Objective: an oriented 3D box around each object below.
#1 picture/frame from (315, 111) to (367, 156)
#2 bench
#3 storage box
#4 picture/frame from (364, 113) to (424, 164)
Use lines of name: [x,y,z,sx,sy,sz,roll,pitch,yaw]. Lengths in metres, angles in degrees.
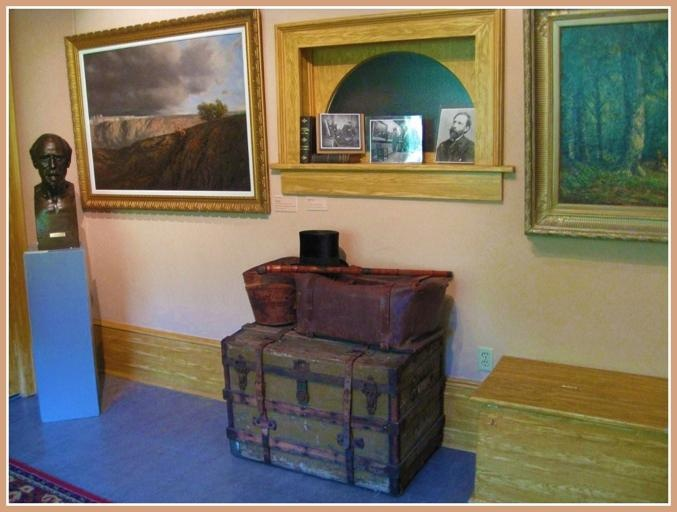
picture/frame: [0.019,-0.799,3.356,0.295,0.250,0.022,1,4,9]
bench: [1.186,0.946,2.671,0.865,0.582,0.592,4,12,27]
storage box: [-0.053,0.876,3.301,1.198,0.793,0.741,3,8,30]
picture/frame: [0.364,-0.745,3.269,0.347,0.290,0.036,3,8,20]
